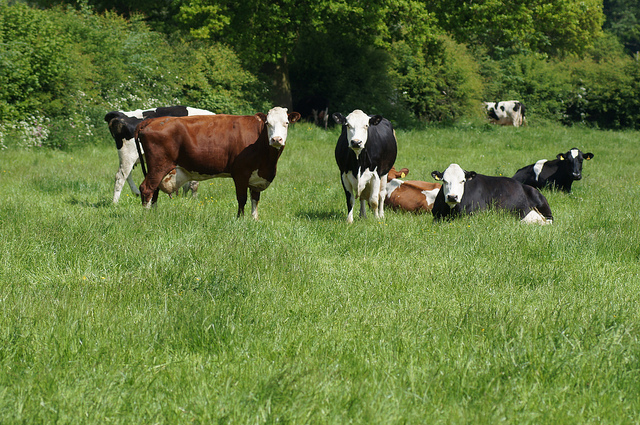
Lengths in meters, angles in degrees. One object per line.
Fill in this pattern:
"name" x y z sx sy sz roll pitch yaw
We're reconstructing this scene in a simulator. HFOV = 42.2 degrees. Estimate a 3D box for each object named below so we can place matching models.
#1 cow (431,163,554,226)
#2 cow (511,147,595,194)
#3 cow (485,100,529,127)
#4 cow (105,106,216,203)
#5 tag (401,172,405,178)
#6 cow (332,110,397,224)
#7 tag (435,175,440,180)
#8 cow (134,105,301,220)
"cow" 4.959 -0.615 23.700 3.822 1.903 1.428 4 -2 -7
"cow" 7.577 -1.440 26.552 2.629 1.554 1.245 -8 -2 36
"cow" 10.792 -5.683 48.597 0.868 1.552 2.782 -19 15 -40
"cow" -4.672 -1.641 25.244 3.613 2.712 0.997 4 4 -29
"tag" 2.592 -1.143 25.590 0.076 0.126 0.229 -2 -1 8
"cow" 1.314 -1.410 23.625 1.555 3.012 2.827 2 15 3
"tag" 3.358 -1.024 23.600 0.087 0.096 0.024 5 16 28
"cow" -2.971 -1.302 23.064 3.209 2.444 1.226 0 -6 -3
